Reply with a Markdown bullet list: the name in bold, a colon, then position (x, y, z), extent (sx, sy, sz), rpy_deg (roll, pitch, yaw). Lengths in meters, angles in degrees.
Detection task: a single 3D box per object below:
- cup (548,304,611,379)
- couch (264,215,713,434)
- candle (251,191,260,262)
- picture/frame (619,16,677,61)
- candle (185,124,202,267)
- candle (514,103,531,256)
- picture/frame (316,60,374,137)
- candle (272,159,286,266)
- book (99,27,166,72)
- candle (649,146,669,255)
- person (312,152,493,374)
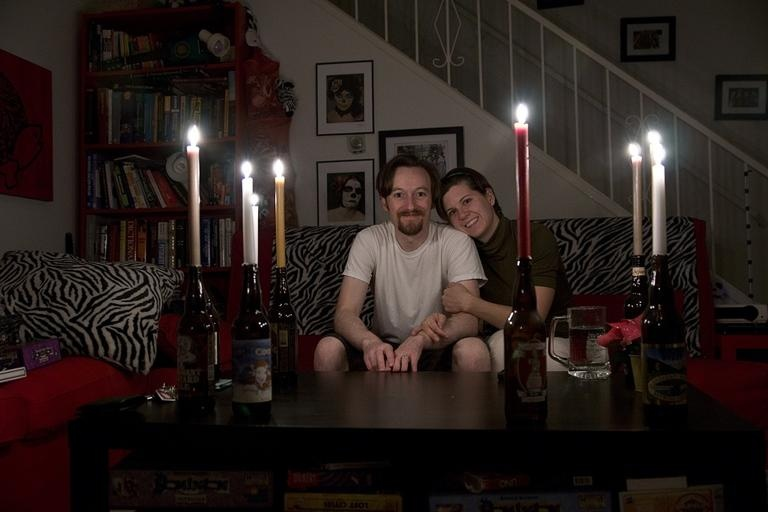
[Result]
- **cup**: position (0.739, 0.317, 2.387), extent (0.241, 0.221, 0.177), rpy_deg (2, 2, 9)
- **couch**: position (0.465, 0.229, 3.165), extent (2.430, 1.124, 1.032), rpy_deg (-2, -17, 7)
- **candle**: position (-0.442, -0.095, 2.218), extent (0.024, 0.217, 0.024), rpy_deg (2, 6, 37)
- **picture/frame**: position (2.233, -1.828, 5.420), extent (0.363, 0.327, 0.030), rpy_deg (0, 2, 9)
- **candle**: position (-0.651, -0.203, 2.204), extent (0.048, 0.479, 0.172), rpy_deg (2, 1, -17)
- **candle**: position (0.440, -0.212, 2.038), extent (0.062, 0.476, 0.065), rpy_deg (-1, 11, 14)
- **picture/frame**: position (-0.261, -1.097, 4.576), extent (0.505, 0.630, 0.026), rpy_deg (-1, -2, 5)
- **candle**: position (-0.402, -0.157, 2.475), extent (0.042, 0.405, 0.190), rpy_deg (2, 1, -10)
- **book**: position (-1.748, -1.381, 4.481), extent (0.322, 0.348, 0.081), rpy_deg (1, -4, 0)
- **candle**: position (0.918, -0.186, 2.148), extent (0.053, 0.322, 0.176), rpy_deg (3, 2, 24)
- **person**: position (0.120, 0.018, 2.940), extent (0.736, 1.007, 0.733), rpy_deg (3, 2, 15)
